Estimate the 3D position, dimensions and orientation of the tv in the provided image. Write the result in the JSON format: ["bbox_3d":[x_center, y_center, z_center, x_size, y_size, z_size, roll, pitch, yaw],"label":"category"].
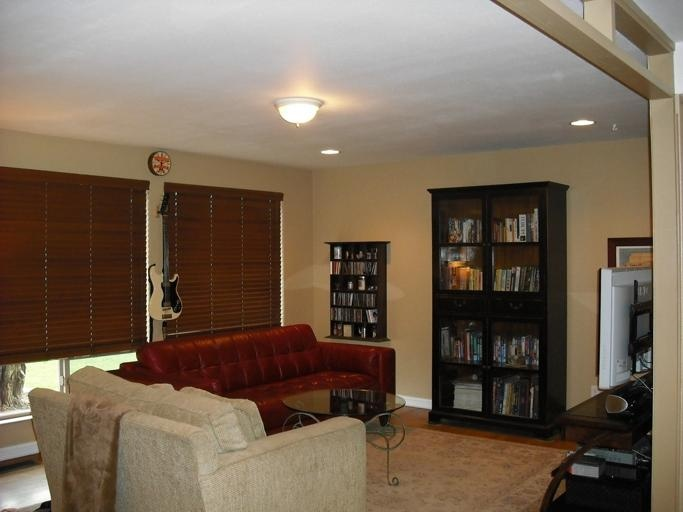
[{"bbox_3d":[1.583,0.393,3.093,0.073,0.715,0.664,2,11,36],"label":"tv"}]

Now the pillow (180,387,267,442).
[{"bbox_3d":[-0.649,0.853,3.055,0.339,0.299,0.348,0,-1,44],"label":"pillow"}]

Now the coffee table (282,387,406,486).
[{"bbox_3d":[0.067,1.725,4.870,1.041,0.632,1.085,-13,-19,29],"label":"coffee table"}]

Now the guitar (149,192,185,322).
[{"bbox_3d":[-1.853,0.008,5.804,0.388,1.372,0.313,0,1,-29],"label":"guitar"}]

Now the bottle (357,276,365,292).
[{"bbox_3d":[0.246,0.342,6.916,0.029,0.177,0.116,-1,1,-43],"label":"bottle"}]

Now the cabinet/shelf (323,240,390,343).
[{"bbox_3d":[0.169,0.442,6.932,0.836,1.236,0.335,0,0,36],"label":"cabinet/shelf"}]
